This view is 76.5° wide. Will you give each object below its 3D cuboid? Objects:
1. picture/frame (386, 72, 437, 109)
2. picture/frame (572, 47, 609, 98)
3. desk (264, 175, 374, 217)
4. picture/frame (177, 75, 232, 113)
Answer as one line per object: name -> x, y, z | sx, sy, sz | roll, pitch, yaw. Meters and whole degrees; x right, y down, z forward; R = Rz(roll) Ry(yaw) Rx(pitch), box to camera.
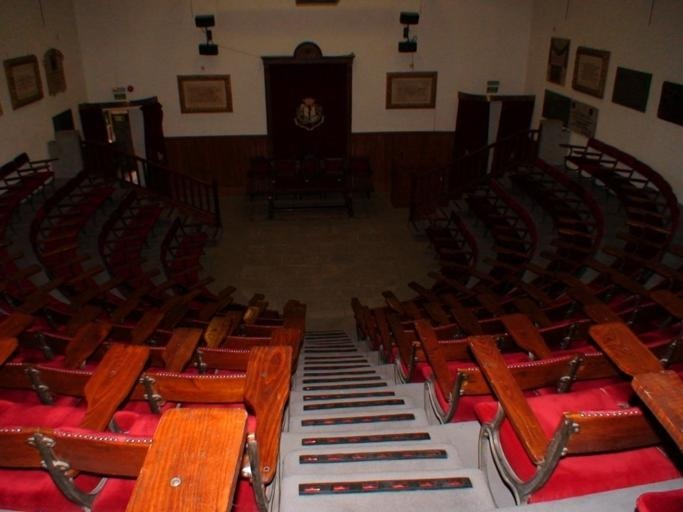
picture/frame -> 1.932, -4.548, 11.878 | 1.362, 0.921, 0.207 | 2, 18, 4
picture/frame -> 5.415, -4.010, 9.422 | 0.070, 0.962, 0.953 | -19, 36, -9
desk -> -0.842, -1.521, 11.283 | 2.179, 0.950, 1.435 | -3, 6, -4
picture/frame -> -3.651, -4.367, 11.644 | 1.358, 1.056, 0.117 | -8, 47, -19
